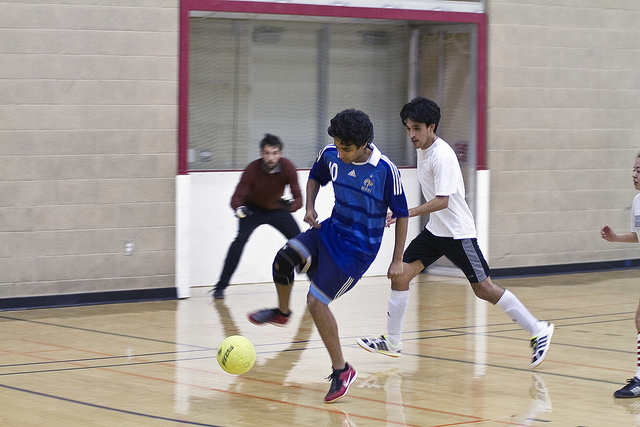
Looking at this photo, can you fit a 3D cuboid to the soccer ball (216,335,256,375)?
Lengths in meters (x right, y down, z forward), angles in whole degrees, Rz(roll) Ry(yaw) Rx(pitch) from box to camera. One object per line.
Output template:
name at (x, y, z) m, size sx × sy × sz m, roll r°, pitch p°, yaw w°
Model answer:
soccer ball at (-0.661, 1.120, 5.271) m, size 0.305 × 0.323 × 0.290 m, roll 0°, pitch 1°, yaw 0°

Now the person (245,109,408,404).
person at (0.144, 0.298, 5.112) m, size 0.886 × 2.140 × 0.804 m, roll -8°, pitch 10°, yaw -29°

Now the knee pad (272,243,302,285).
knee pad at (-0.265, 0.388, 5.096) m, size 0.157 × 0.306 × 0.214 m, roll 8°, pitch 10°, yaw 35°
